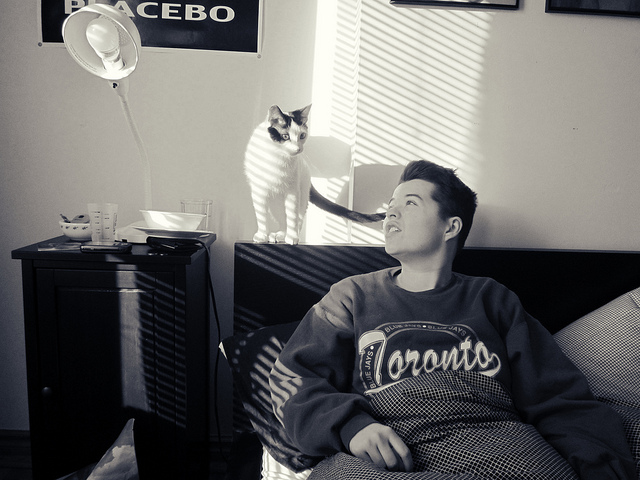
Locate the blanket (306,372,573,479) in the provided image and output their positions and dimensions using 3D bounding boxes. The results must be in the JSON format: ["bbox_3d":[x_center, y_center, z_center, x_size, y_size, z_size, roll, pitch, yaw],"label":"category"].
[{"bbox_3d":[0.429,0.543,1.917,0.586,0.194,0.267,5,23,1],"label":"blanket"}]

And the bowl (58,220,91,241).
[{"bbox_3d":[-0.832,-0.039,2.232,0.070,0.038,0.074,0,4,0],"label":"bowl"}]

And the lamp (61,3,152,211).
[{"bbox_3d":[-0.727,-0.438,2.280,0.265,0.707,0.191,-3,22,-16],"label":"lamp"}]

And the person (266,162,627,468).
[{"bbox_3d":[0.322,0.319,1.875,0.692,0.363,1.000,-2,43,3],"label":"person"}]

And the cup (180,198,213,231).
[{"bbox_3d":[-0.452,-0.077,2.438,0.096,0.128,0.127,-2,6,13],"label":"cup"}]

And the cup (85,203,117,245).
[{"bbox_3d":[-0.714,-0.061,2.172,0.088,0.126,0.131,-4,24,-20],"label":"cup"}]

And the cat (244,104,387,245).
[{"bbox_3d":[-0.088,-0.246,2.533,0.168,0.416,0.620,7,-1,10],"label":"cat"}]
